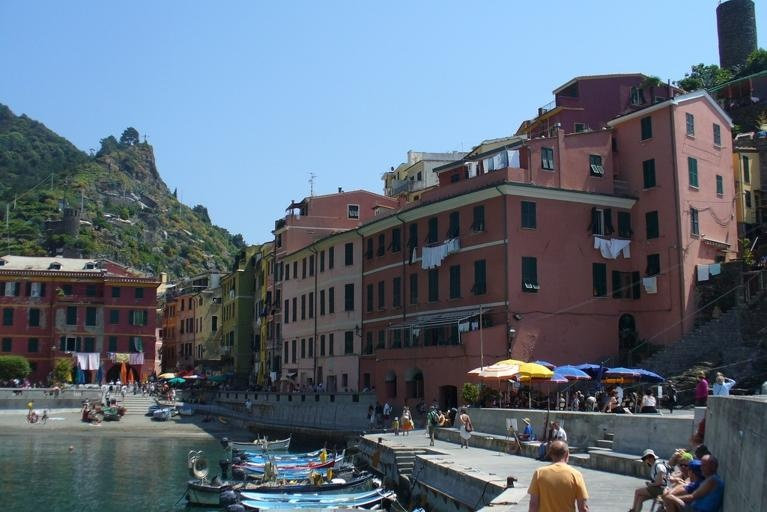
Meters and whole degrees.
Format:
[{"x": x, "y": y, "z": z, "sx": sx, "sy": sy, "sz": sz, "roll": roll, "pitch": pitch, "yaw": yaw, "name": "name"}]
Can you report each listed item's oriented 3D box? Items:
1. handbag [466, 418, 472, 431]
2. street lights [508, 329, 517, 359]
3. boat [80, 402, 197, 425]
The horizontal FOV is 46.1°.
[{"x": 5.627, "y": 11.108, "z": 59.258, "sx": 0.391, "sy": 0.969, "sz": 0.953, "roll": -4, "pitch": -10, "yaw": 20, "name": "handbag"}, {"x": 9.986, "y": 6.700, "z": 69.024, "sx": 0.862, "sy": 2.155, "sz": 0.242, "roll": 11, "pitch": -18, "yaw": -42, "name": "street lights"}, {"x": -26.212, "y": 16.374, "z": 93.804, "sx": 10.024, "sy": 2.617, "sz": 6.078, "roll": 4, "pitch": -15, "yaw": -20, "name": "boat"}]
